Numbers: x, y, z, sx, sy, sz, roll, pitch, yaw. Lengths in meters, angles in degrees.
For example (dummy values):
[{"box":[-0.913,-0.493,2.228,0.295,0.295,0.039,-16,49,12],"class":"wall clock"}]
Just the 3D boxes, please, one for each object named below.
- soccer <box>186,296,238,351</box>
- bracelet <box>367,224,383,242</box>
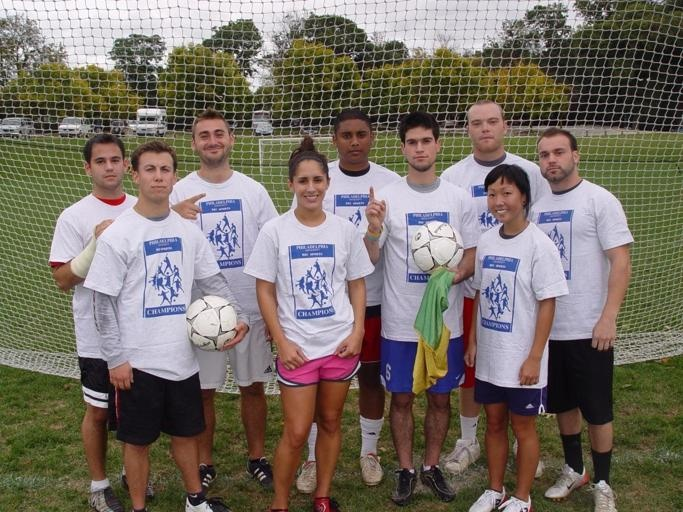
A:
[{"box":[-1.148,0.546,5.207,0.358,0.361,0.357,-33,71,-27],"class":"soccer"},{"box":[0.294,-0.217,5.450,0.121,0.140,0.154,3,36,1],"class":"bracelet"}]
